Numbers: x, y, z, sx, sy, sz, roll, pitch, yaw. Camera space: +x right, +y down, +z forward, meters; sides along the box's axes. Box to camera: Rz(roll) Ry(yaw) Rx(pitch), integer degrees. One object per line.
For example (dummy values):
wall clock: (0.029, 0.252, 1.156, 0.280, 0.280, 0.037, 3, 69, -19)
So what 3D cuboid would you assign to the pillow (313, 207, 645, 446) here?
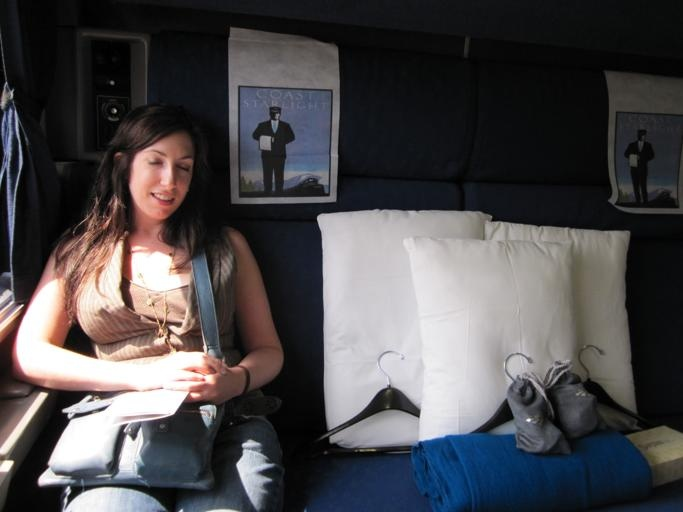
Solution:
pillow: (0.224, 0.228, 1.647, 1.008, 0.922, 0.269, -2, 3, -11)

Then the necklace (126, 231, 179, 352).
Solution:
necklace: (-0.611, 0.114, 1.740, 0.183, 0.366, 0.082, -1, -13, -13)

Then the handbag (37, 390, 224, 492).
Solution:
handbag: (-0.568, 0.508, 1.483, 0.353, 0.138, 0.316, 1, 36, 0)

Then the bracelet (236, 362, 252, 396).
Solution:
bracelet: (-0.305, 0.392, 1.720, 0.068, 0.077, 0.018, -9, -6, 43)
